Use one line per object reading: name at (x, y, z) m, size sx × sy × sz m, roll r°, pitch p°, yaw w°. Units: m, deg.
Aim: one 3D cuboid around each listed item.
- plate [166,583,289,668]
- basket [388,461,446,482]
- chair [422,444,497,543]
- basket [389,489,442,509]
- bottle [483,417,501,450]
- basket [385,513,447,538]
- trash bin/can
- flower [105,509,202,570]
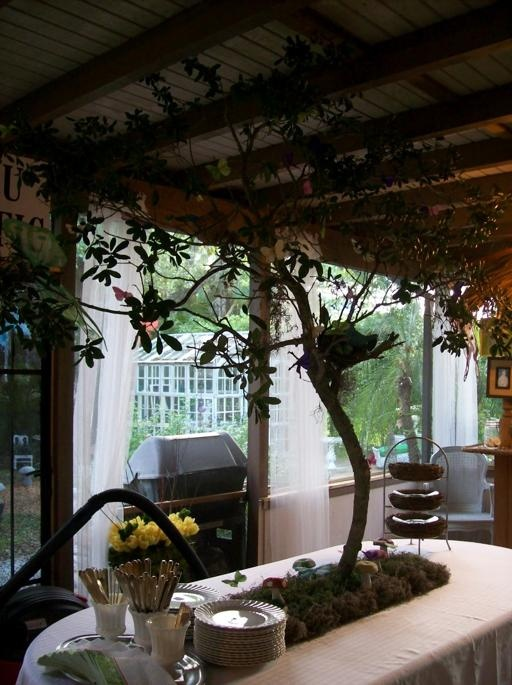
plate at (-0.070, 0.630, 1.351) m, size 0.214 × 0.099 × 0.246 m, roll 0°, pitch 2°, yaw -34°
basket at (0.600, 0.490, 2.229) m, size 0.186 × 0.101 × 0.283 m, roll -1°, pitch -3°, yaw 13°
chair at (1.722, 1.371, 5.026) m, size 0.657 × 0.966 × 0.720 m, roll -6°, pitch -14°, yaw 27°
basket at (0.579, 0.567, 2.128) m, size 0.179 × 0.085 × 0.239 m, roll -1°, pitch -3°, yaw 15°
bottle at (1.576, 0.594, 3.933) m, size 0.098 × 0.173 × 0.249 m, roll -1°, pitch -4°, yaw 22°
basket at (0.548, 0.616, 2.004) m, size 0.141 × 0.045 × 0.134 m, roll 2°, pitch -5°, yaw 4°
trash bin/can at (-0.444, 0.828, 3.906) m, size 0.698 × 0.332 × 0.429 m, roll 6°, pitch -13°, yaw -43°
flower at (-0.493, 0.869, 2.680) m, size 0.445 × 0.200 × 0.367 m, roll -15°, pitch -15°, yaw 41°
